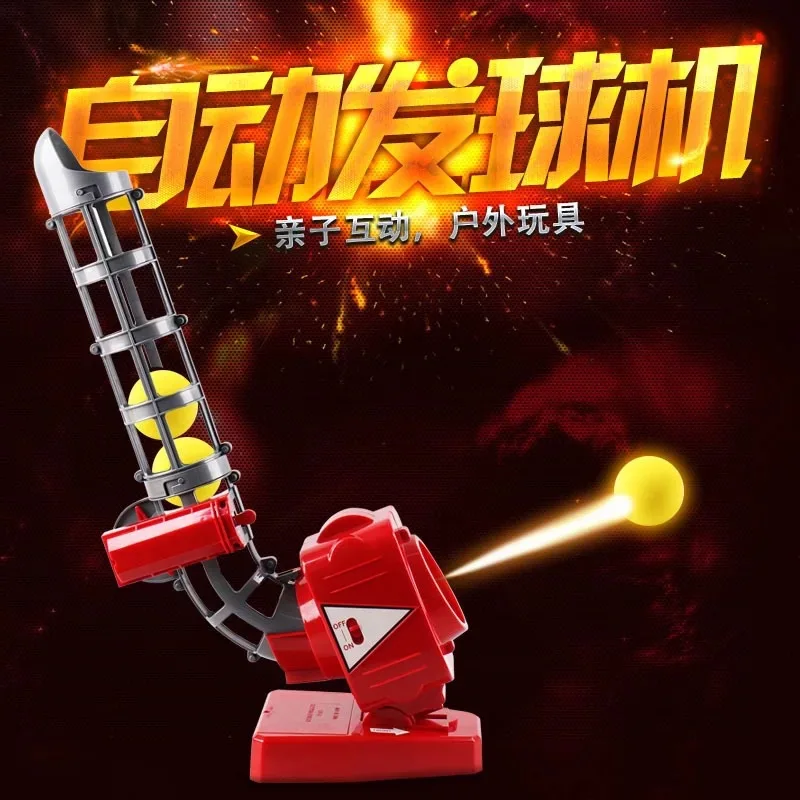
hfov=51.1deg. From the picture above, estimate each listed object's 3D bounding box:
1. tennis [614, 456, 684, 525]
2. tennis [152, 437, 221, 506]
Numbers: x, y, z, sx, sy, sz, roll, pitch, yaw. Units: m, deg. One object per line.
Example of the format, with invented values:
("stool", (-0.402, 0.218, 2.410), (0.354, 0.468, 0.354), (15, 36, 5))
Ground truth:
("tennis", (0.603, 0.228, 2.046), (0.186, 0.175, 0.182), (0, 103, 21))
("tennis", (-0.458, 0.130, 1.809), (0.124, 0.123, 0.132), (-5, 64, -42))
